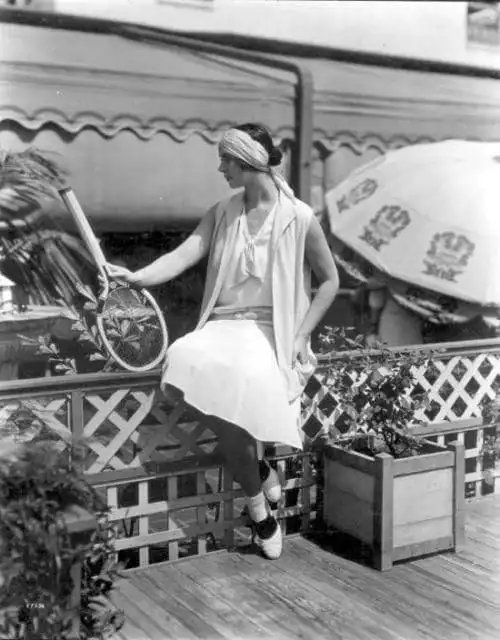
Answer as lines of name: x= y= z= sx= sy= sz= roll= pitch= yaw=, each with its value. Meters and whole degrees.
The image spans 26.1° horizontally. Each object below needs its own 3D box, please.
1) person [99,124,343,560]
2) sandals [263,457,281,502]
person: x=-0.077 y=0.097 z=4.587 sx=0.848 sy=1.820 sz=0.769 roll=3 pitch=13 yaw=13
sandals: x=0.109 y=0.703 z=4.735 sx=0.068 sy=0.202 sz=0.074 roll=-13 pitch=-4 yaw=36
